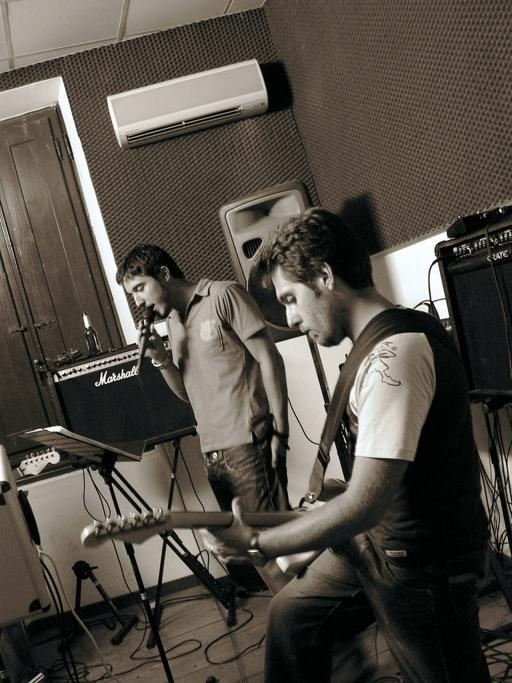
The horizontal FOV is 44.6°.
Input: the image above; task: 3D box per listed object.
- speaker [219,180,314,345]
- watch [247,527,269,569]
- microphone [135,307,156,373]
[{"bbox_3d":[0.106,-0.359,3.141,0.469,0.746,0.461,-7,-8,22],"label":"speaker"},{"bbox_3d":[0.000,0.345,1.046,0.013,0.054,0.039,-23,12,-38],"label":"watch"},{"bbox_3d":[-0.435,0.005,2.462,0.045,0.308,0.087,16,-21,-34],"label":"microphone"}]
